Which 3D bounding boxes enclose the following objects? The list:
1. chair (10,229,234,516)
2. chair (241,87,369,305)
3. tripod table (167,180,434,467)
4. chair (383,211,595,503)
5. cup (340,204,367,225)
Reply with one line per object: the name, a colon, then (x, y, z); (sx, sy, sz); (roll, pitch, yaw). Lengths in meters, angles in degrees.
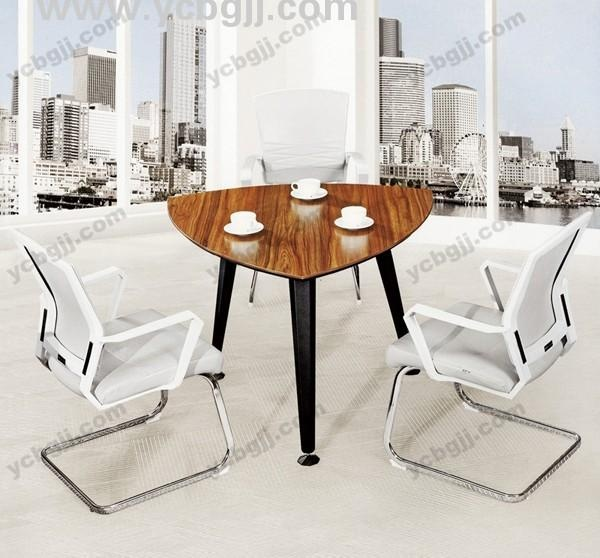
chair: (-0.465, 0.213, 1.450); (0.538, 0.729, 0.403); (-8, 15, -29)
chair: (0.019, -0.532, 3.230); (0.680, 1.252, 0.870); (-4, 22, -4)
tripod table: (0.042, 0.053, 2.134); (0.936, 0.718, 1.112); (14, 28, 34)
chair: (0.536, 0.187, 1.522); (0.541, 0.726, 0.573); (-6, 16, 1)
cup: (0.196, -0.238, 1.782); (0.065, 0.041, 0.068); (-1, 28, 1)
